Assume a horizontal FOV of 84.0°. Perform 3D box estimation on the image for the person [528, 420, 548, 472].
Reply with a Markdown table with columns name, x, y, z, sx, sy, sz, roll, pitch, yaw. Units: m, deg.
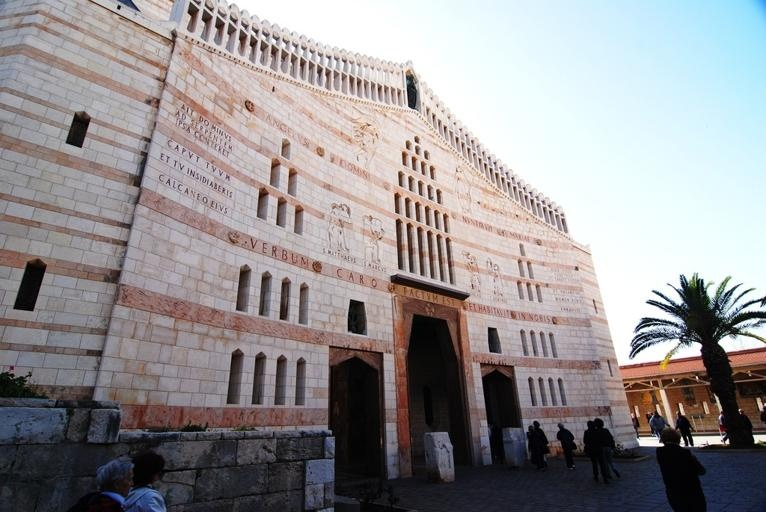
| name | x | y | z | sx | sy | sz | roll | pitch | yaw |
| --- | --- | --- | --- | --- | --- | --- | --- | --- | --- |
| person | 6.571 | 7.935 | 17.879 | 0.723 | 1.779 | 1.131 | -10 | -26 | 13 |
